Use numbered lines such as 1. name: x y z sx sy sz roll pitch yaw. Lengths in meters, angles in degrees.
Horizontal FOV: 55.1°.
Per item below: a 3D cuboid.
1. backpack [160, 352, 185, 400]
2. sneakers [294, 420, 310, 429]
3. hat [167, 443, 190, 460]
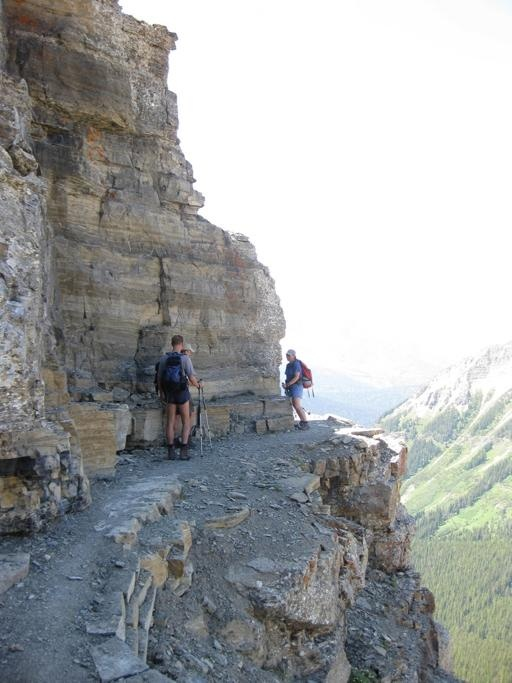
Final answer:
1. backpack: -1.477 0.577 9.089 0.521 0.703 0.389 6 8 9
2. sneakers: 1.224 2.351 13.315 0.383 0.220 0.283 -1 -5 18
3. hat: -1.489 2.172 9.555 0.222 0.401 0.603 3 10 11
